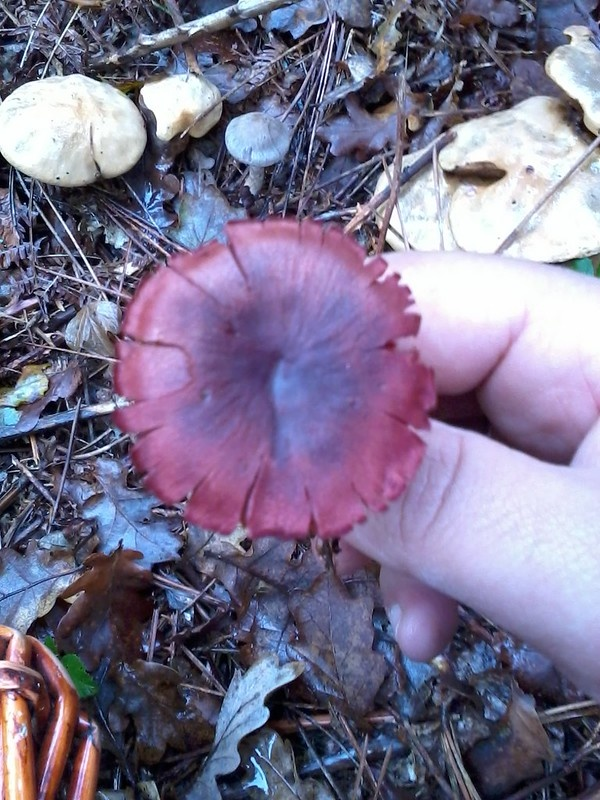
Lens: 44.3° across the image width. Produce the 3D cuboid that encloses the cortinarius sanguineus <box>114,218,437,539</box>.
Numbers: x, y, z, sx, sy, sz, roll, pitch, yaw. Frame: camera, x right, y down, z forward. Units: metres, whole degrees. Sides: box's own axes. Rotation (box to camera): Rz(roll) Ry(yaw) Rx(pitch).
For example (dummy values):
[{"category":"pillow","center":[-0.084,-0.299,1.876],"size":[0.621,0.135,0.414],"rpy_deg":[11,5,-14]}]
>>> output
[{"category":"cortinarius sanguineus","center":[-0.055,-0.044,1.581],"size":[0.688,0.109,0.676],"rpy_deg":[-2,83,-2]}]

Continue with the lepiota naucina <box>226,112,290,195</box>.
[{"category":"lepiota naucina","center":[-0.151,-1.058,3.125],"size":[0.298,0.303,0.267],"rpy_deg":[-13,84,-3]}]

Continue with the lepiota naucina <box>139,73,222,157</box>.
[{"category":"lepiota naucina","center":[-0.497,-1.259,3.111],"size":[0.327,0.179,0.287],"rpy_deg":[-20,84,-4]}]
